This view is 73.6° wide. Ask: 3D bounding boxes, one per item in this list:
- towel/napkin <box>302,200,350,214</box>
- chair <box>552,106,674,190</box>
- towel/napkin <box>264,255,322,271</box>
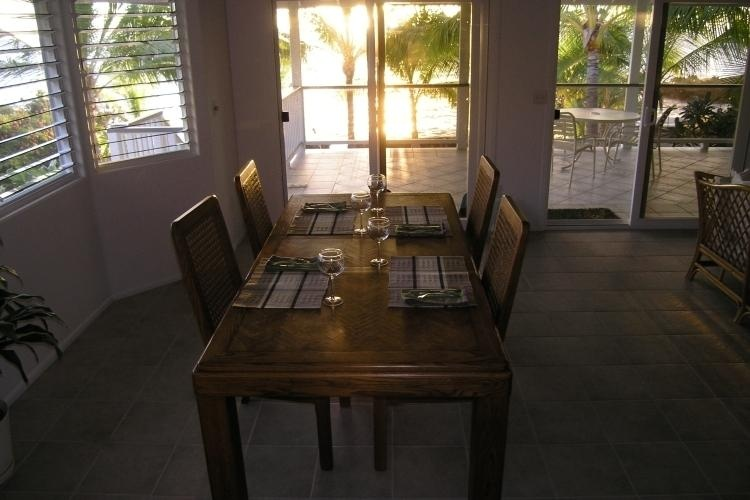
[{"bbox_3d":[-0.342,-0.295,3.483,0.228,0.044,0.126,-1,23,-5],"label":"towel/napkin"},{"bbox_3d":[2.570,-1.252,5.894,0.889,0.543,0.854,-3,28,0],"label":"chair"},{"bbox_3d":[-0.458,0.075,2.709,0.179,0.039,0.131,1,22,-3],"label":"towel/napkin"}]
